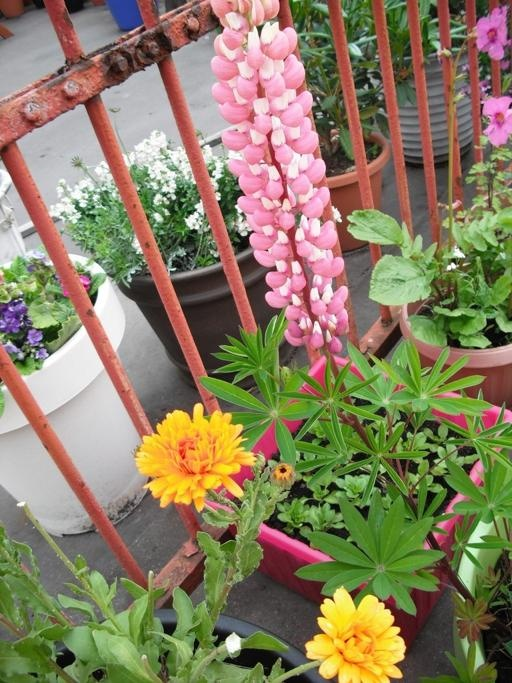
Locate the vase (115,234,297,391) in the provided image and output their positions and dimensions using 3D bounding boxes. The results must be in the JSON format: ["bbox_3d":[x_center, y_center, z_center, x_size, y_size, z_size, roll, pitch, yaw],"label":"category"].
[{"bbox_3d":[-0.201,-0.182,2.167,0.522,0.496,0.496,-20,34,-15],"label":"vase"}]

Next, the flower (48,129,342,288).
[{"bbox_3d":[-0.278,-0.564,2.208,0.881,0.260,0.837,-25,66,-18],"label":"flower"}]

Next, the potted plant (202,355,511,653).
[{"bbox_3d":[0.285,0.321,1.198,0.577,0.284,0.687,22,64,25],"label":"potted plant"}]
